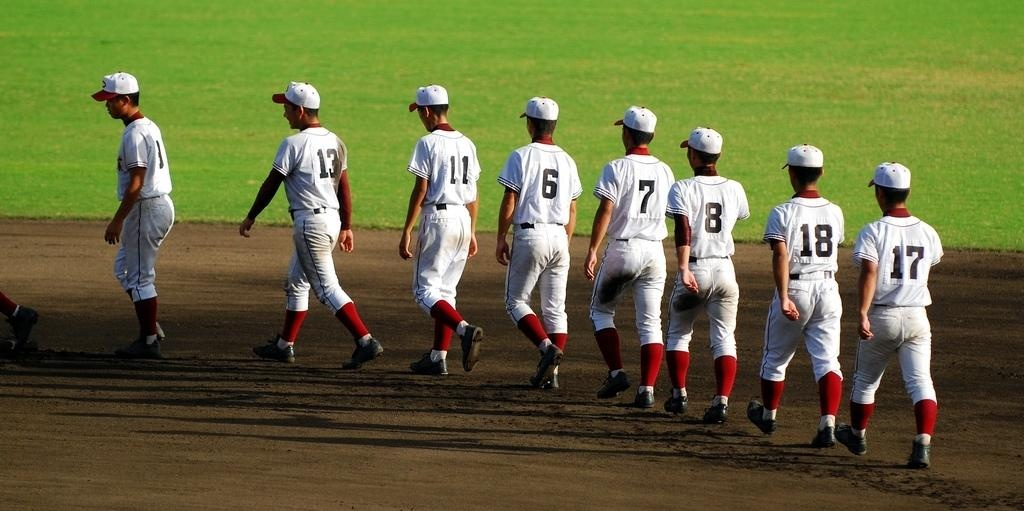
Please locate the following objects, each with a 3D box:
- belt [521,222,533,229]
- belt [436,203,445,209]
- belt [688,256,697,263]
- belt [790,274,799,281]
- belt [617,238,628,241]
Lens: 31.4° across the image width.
[{"bbox_3d":[0.367,-0.848,49.577,0.358,0.144,0.046,2,17,3],"label":"belt"},{"bbox_3d":[-1.999,-1.388,49.818,0.276,0.164,0.049,1,17,-2],"label":"belt"},{"bbox_3d":[4.827,0.080,49.055,0.262,0.180,0.053,4,0,8],"label":"belt"},{"bbox_3d":[7.529,0.551,48.641,0.253,0.172,0.058,2,1,4],"label":"belt"},{"bbox_3d":[2.971,-0.467,49.357,0.298,0.082,0.033,3,17,5],"label":"belt"}]
